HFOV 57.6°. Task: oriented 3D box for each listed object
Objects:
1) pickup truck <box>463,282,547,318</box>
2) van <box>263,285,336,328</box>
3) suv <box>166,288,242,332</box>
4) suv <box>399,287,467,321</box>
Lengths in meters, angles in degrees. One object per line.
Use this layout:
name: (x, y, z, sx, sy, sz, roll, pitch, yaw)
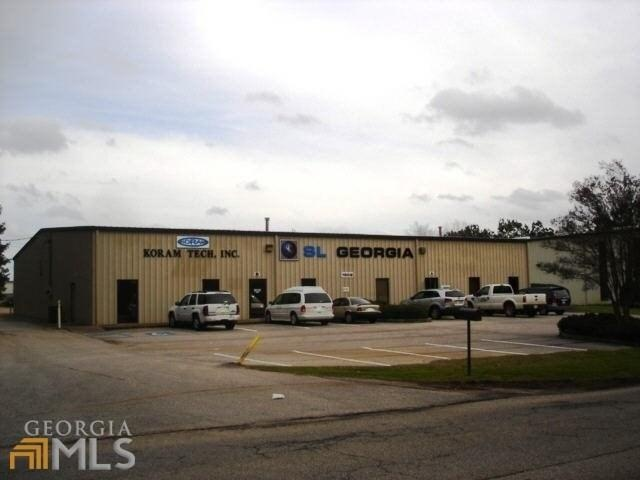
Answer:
pickup truck: (11.740, 3.912, 37.634, 2.535, 2.184, 5.410, 2, -5, -29)
van: (-1.338, 3.751, 33.327, 2.596, 2.212, 4.463, 3, -6, -35)
suv: (-6.181, 3.757, 31.259, 2.379, 1.995, 5.685, 1, -4, -37)
suv: (7.285, 4.164, 37.989, 2.301, 1.921, 4.979, 1, -5, -33)
